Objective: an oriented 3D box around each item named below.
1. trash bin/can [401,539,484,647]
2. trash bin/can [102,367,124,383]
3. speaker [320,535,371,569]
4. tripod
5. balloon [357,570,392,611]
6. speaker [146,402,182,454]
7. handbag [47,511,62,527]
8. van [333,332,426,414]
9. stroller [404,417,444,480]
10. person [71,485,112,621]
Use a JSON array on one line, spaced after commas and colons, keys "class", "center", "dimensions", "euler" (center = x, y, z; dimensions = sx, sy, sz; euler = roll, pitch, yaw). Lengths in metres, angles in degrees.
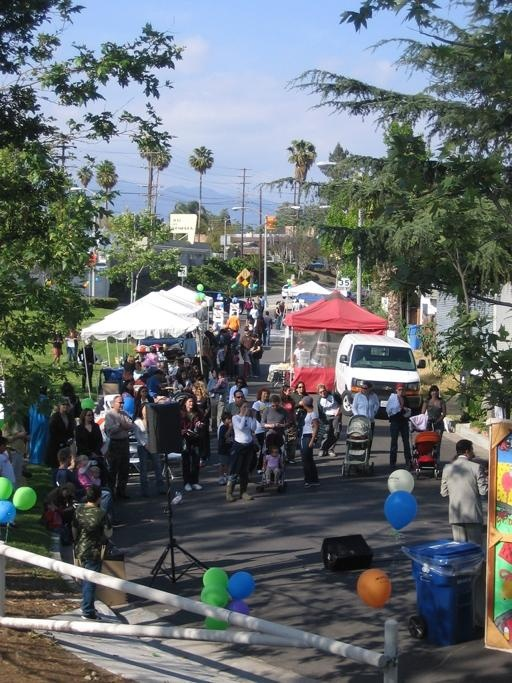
[{"class": "trash bin/can", "center": [1.985, 2.585, 11.227], "dimensions": [0.989, 0.957, 0.755], "euler": [0, 1, -45]}, {"class": "trash bin/can", "center": [-3.450, 0.811, 26.048], "dimensions": [0.536, 0.273, 0.530], "euler": [3, 10, 13]}, {"class": "speaker", "center": [1.081, 2.576, 13.222], "dimensions": [0.520, 0.442, 0.361], "euler": [2, -21, -22]}, {"class": "tripod", "center": [-1.035, 2.284, 13.352], "dimensions": [0.650, 1.571, 0.612], "euler": [1, 2, 10]}, {"class": "balloon", "center": [1.183, 2.531, 11.017], "dimensions": [0.320, 0.403, 0.240], "euler": [4, 8, 19]}, {"class": "speaker", "center": [-1.146, 1.104, 13.466], "dimensions": [0.440, 0.697, 0.333], "euler": [0, 8, -15]}, {"class": "handbag", "center": [-2.743, 2.431, 14.709], "dimensions": [0.198, 0.220, 0.136], "euler": [0, 7, -9]}, {"class": "van", "center": [2.864, 0.757, 26.210], "dimensions": [2.548, 1.729, 2.913], "euler": [-3, 4, -5]}, {"class": "stroller", "center": [2.905, 1.845, 18.812], "dimensions": [0.385, 1.011, 0.627], "euler": [0, 1, 6]}, {"class": "person", "center": [-1.765, 2.305, 11.641], "dimensions": [0.400, 1.403, 1.195], "euler": [0, 7, -8]}]
